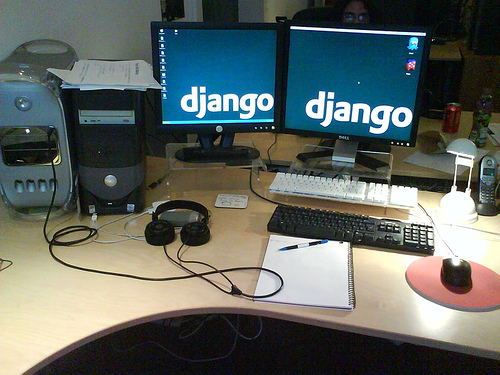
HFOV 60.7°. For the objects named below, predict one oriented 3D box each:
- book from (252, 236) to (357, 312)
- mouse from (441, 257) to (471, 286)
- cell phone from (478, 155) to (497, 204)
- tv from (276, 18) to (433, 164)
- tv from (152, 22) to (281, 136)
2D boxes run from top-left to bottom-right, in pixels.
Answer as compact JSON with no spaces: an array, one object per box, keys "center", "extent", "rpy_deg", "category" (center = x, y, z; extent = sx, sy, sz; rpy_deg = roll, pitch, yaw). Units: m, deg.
[{"center":[0.180,0.266,1.373],"extent":[0.306,0.075,0.297],"rpy_deg":[3,21,8],"category":"book"},{"center":[0.621,0.252,1.283],"extent":[0.059,0.060,0.082],"rpy_deg":[-5,20,10],"category":"mouse"},{"center":[0.924,-0.027,1.652],"extent":[0.066,0.159,0.125],"rpy_deg":[10,23,26],"category":"cell phone"},{"center":[0.428,-0.394,1.785],"extent":[0.587,0.591,0.197],"rpy_deg":[11,32,8],"category":"tv"},{"center":[-0.143,-0.451,1.718],"extent":[0.477,0.415,0.039],"rpy_deg":[-1,22,-4],"category":"tv"}]
